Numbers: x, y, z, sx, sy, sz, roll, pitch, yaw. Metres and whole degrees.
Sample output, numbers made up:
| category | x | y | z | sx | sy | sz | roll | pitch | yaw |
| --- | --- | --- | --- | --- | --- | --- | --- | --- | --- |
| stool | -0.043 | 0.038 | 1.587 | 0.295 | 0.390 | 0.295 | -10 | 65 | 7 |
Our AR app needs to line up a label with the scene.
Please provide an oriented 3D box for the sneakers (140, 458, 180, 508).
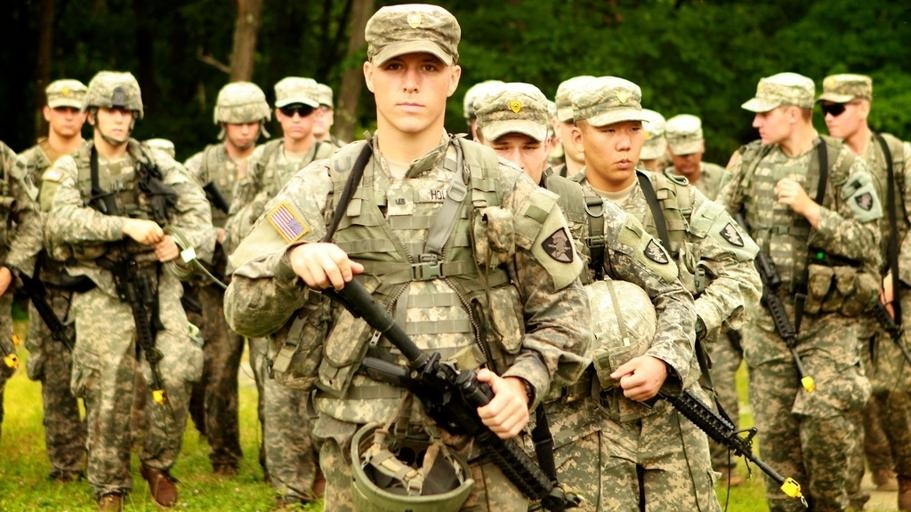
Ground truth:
| category | x | y | z | sx | sy | sz | roll | pitch | yaw |
| --- | --- | --- | --- | --- | --- | --- | --- | --- | --- |
| sneakers | -3.691 | 2.885 | 17.900 | 0.691 | 0.287 | 0.292 | 51 | 29 | 17 |

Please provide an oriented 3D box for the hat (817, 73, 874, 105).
| category | x | y | z | sx | sy | sz | roll | pitch | yaw |
| --- | --- | --- | --- | --- | --- | --- | --- | --- | --- |
| hat | 5.128 | -2.209 | 18.777 | 0.643 | 0.358 | 0.477 | 5 | 3 | 19 |

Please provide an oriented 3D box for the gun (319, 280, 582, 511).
| category | x | y | z | sx | sy | sz | roll | pitch | yaw |
| --- | --- | --- | --- | --- | --- | --- | --- | --- | --- |
| gun | -0.157 | 1.366 | 14.393 | 0.798 | 2.482 | 0.426 | -36 | 15 | 43 |

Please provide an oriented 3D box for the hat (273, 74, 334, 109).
| category | x | y | z | sx | sy | sz | roll | pitch | yaw |
| --- | --- | --- | --- | --- | --- | --- | --- | --- | --- |
| hat | -2.091 | -2.222 | 19.424 | 0.681 | 0.467 | 0.907 | 4 | 3 | -4 |

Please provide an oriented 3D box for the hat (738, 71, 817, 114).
| category | x | y | z | sx | sy | sz | roll | pitch | yaw |
| --- | --- | --- | --- | --- | --- | --- | --- | --- | --- |
| hat | 4.151 | -2.082 | 18.147 | 0.695 | 0.360 | 0.511 | 1 | 4 | 7 |

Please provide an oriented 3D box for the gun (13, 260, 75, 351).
| category | x | y | z | sx | sy | sz | roll | pitch | yaw |
| --- | --- | --- | --- | --- | --- | --- | --- | --- | --- |
| gun | -5.200 | 0.652 | 18.030 | 0.677 | 1.120 | 0.466 | 3 | 2 | -18 |

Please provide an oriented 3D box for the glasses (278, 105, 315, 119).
| category | x | y | z | sx | sy | sz | roll | pitch | yaw |
| --- | --- | --- | --- | --- | --- | --- | --- | --- | --- |
| glasses | -2.129 | -1.945 | 19.024 | 0.437 | 0.129 | 0.090 | 4 | 2 | -7 |
